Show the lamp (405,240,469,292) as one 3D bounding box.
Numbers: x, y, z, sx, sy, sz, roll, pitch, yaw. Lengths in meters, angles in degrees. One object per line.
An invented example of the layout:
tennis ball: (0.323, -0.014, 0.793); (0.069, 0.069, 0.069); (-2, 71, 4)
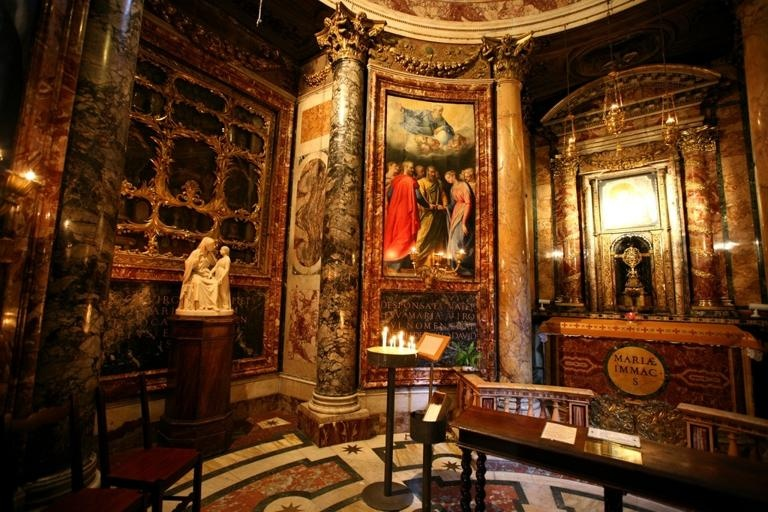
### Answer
lamp: (0.813, 0.190, 8.941); (0.833, 0.641, 0.245); (4, -3, -4)

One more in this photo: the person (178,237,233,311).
person: (-2.521, 0.274, 7.817); (0.684, 1.069, 0.380); (3, -6, -29)
